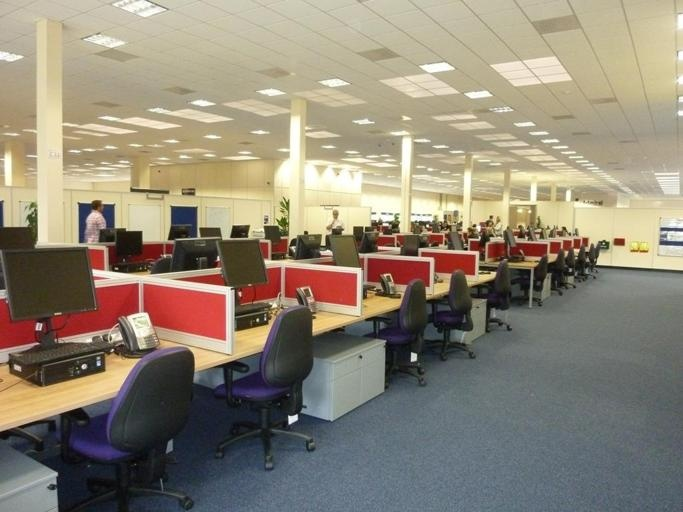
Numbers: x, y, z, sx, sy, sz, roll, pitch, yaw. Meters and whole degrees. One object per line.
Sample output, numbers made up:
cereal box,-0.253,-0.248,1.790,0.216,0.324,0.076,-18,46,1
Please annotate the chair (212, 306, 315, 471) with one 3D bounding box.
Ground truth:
chair,-0.661,1.034,4.395,0.810,1.204,0.863,2,4,31

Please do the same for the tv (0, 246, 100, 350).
tv,-2.104,0.309,3.695,0.329,0.811,0.711,3,6,35

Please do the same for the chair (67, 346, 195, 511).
chair,-1.431,1.201,3.468,0.771,1.259,0.440,5,13,17

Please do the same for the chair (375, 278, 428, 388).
chair,0.678,0.794,5.731,0.572,1.200,0.876,3,13,10

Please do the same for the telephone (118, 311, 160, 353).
telephone,-1.568,0.607,3.982,0.193,0.310,0.260,-1,4,38

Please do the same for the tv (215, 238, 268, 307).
tv,-0.915,0.074,4.770,0.097,0.444,0.621,-11,-2,25

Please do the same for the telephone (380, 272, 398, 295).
telephone,0.552,0.341,6.219,0.086,0.221,0.235,-24,-21,33

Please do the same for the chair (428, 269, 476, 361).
chair,1.258,0.709,6.321,0.681,0.998,0.645,-1,-7,-29
